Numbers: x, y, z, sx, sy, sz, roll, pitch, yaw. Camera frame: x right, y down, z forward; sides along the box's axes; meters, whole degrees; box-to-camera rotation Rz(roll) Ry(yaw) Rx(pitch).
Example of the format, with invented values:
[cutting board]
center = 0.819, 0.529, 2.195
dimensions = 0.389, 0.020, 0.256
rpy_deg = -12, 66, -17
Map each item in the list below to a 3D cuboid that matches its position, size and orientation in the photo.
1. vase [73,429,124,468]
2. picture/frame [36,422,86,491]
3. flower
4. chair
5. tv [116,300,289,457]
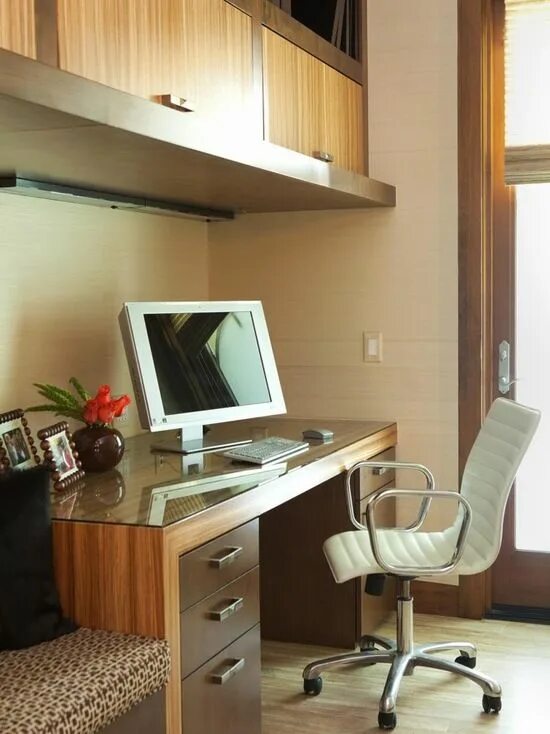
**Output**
[vase]
center = -0.468, 0.217, 1.603
dimensions = 0.111, 0.095, 0.113
rpy_deg = -1, 2, 29
[picture/frame]
center = -0.500, 0.215, 1.427
dimensions = 0.017, 0.103, 0.120
rpy_deg = -19, 16, 17
[flower]
center = -0.531, 0.110, 1.670
dimensions = 0.265, 0.098, 0.234
rpy_deg = 8, 1, 6
[chair]
center = 0.532, 0.591, 2.342
dimensions = 0.929, 1.246, 0.860
rpy_deg = 1, 1, -3
[tv]
center = -0.252, 0.042, 1.976
dimensions = 0.171, 0.403, 0.556
rpy_deg = 1, 1, 33
